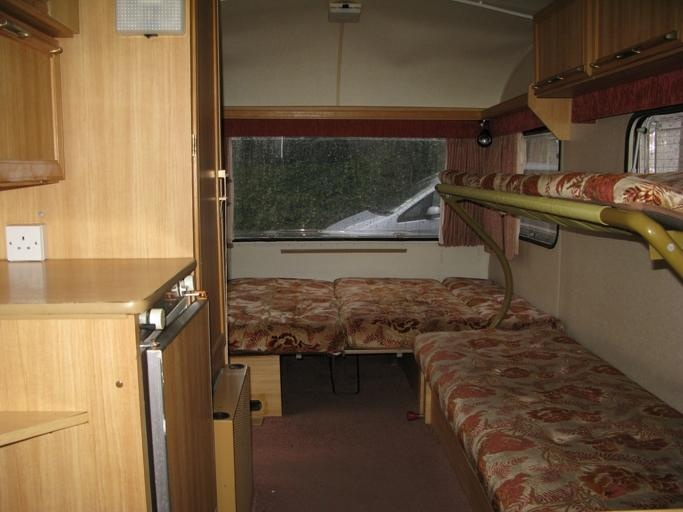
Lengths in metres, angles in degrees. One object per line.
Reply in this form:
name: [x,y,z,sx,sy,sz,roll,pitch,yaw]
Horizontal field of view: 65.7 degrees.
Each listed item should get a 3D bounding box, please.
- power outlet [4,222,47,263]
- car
power outlet: [-1.310,-0.054,2.198,0.163,0.158,0.088,1,10,-15]
car: [0.850,-0.446,4.753,1.844,0.857,0.710,1,13,-1]
